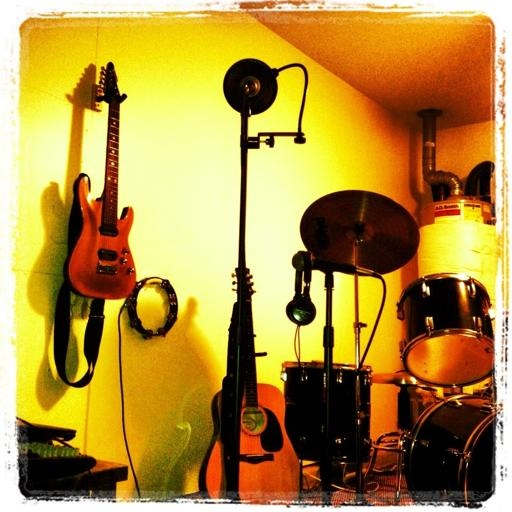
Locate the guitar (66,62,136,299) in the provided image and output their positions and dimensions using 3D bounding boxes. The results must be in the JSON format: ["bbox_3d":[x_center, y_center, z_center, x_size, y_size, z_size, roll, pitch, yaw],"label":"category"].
[{"bbox_3d":[-0.667,-0.353,3.364,0.336,1.084,0.224,5,-5,-27],"label":"guitar"}]

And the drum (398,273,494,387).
[{"bbox_3d":[0.883,0.355,3.540,0.443,0.537,0.433,2,-5,17],"label":"drum"}]

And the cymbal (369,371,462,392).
[{"bbox_3d":[0.838,0.661,4.010,0.316,0.099,0.339,13,-9,0],"label":"cymbal"}]

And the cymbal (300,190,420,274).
[{"bbox_3d":[0.505,-0.118,3.724,0.569,0.345,0.532,3,-5,2],"label":"cymbal"}]

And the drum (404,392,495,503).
[{"bbox_3d":[0.866,0.853,3.295,0.231,0.435,0.448,6,-5,-31],"label":"drum"}]

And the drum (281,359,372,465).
[{"bbox_3d":[0.365,0.798,3.900,0.438,0.502,0.485,1,-1,1],"label":"drum"}]

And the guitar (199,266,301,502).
[{"bbox_3d":[0.010,0.609,3.361,0.473,1.058,0.944,3,-5,-3],"label":"guitar"}]
